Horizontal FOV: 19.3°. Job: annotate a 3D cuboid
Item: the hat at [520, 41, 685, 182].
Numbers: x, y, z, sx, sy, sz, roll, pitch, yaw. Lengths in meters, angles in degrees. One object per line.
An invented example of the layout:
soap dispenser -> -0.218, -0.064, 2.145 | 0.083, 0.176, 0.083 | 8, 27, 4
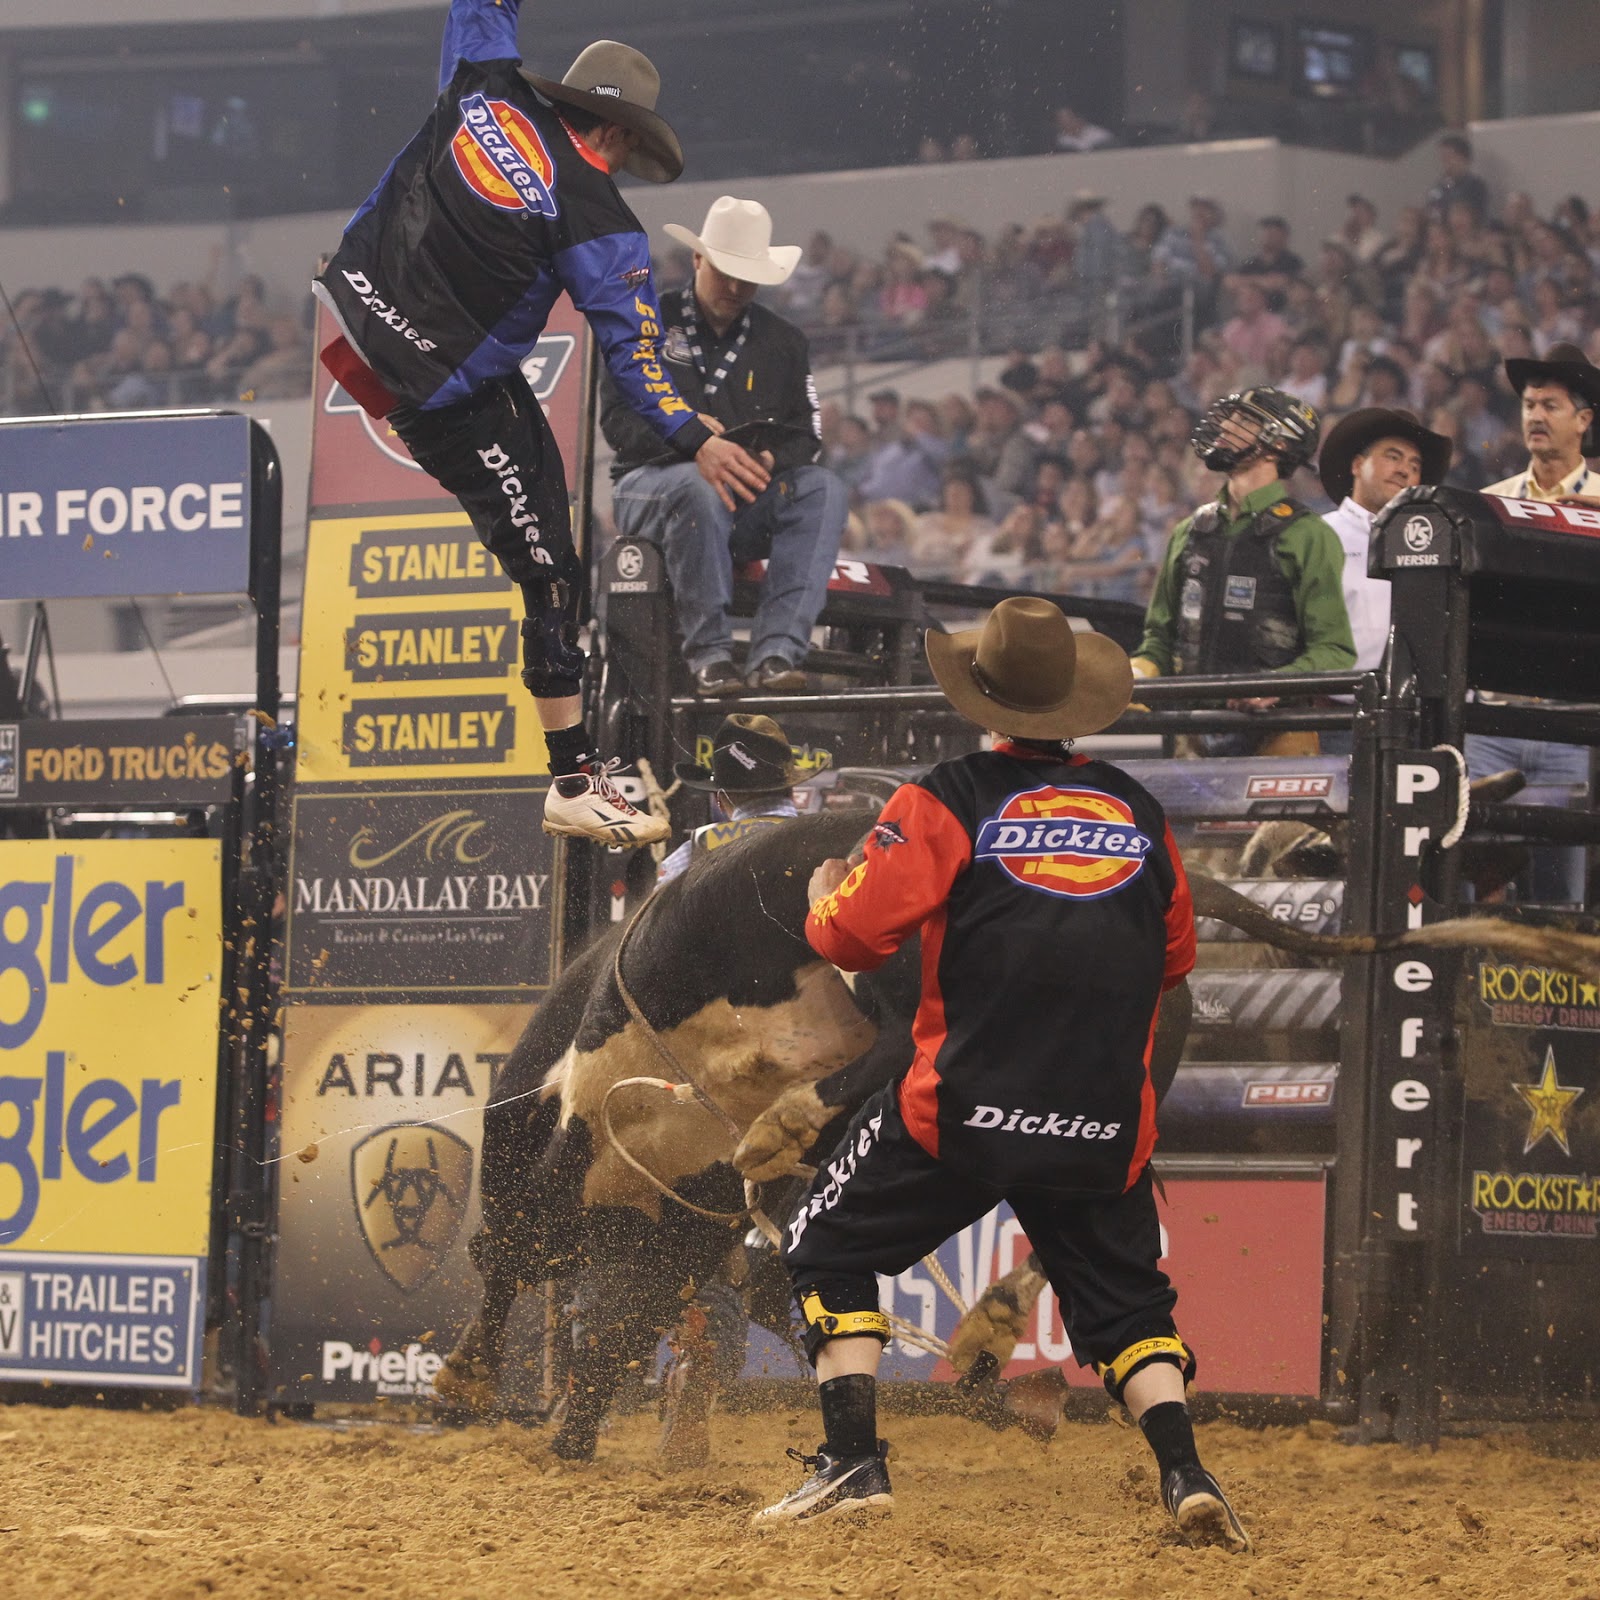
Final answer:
hat -> -0.627, -2.680, 17.598 | 0.599, 0.223, 0.452 | 30, -11, -35

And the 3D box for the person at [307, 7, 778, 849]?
person -> -1.014, -1.459, 17.666 | 1.441, 3.212, 0.523 | 0, 0, -5

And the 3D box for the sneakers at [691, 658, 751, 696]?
sneakers -> -0.298, -0.516, 18.887 | 0.152, 0.113, 0.301 | -1, 4, -6

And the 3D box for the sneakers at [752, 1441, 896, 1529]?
sneakers -> 0.137, 2.427, 16.509 | 0.620, 0.243, 0.200 | -7, -17, 5

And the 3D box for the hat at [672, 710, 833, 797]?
hat -> -0.229, -0.222, 18.934 | 0.452, 0.161, 0.379 | 5, 7, 12

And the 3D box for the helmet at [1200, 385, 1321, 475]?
helmet -> 2.002, -1.656, 20.808 | 0.478, 0.353, 0.366 | 18, 6, 9

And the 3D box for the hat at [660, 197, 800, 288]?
hat -> -0.291, -2.405, 19.938 | 0.518, 0.226, 0.564 | 23, 2, -26
